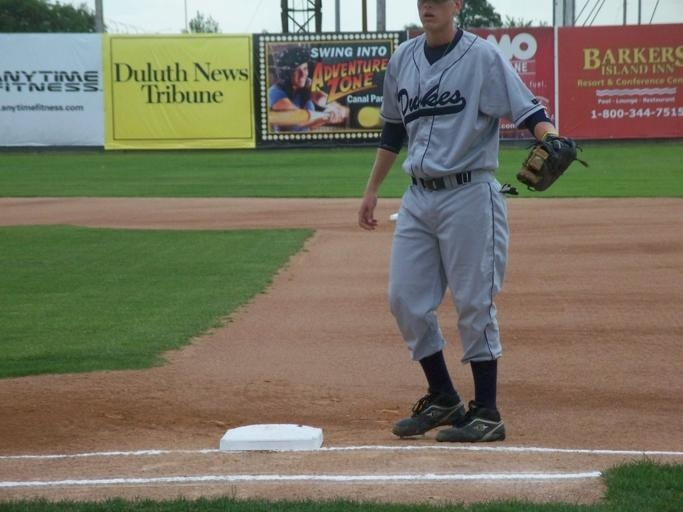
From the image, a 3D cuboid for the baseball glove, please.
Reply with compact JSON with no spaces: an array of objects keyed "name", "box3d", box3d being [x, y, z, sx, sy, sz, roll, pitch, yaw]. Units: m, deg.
[{"name":"baseball glove","box3d":[1.860,-0.907,12.017,0.636,0.315,0.374,-36,-6,-16]}]
